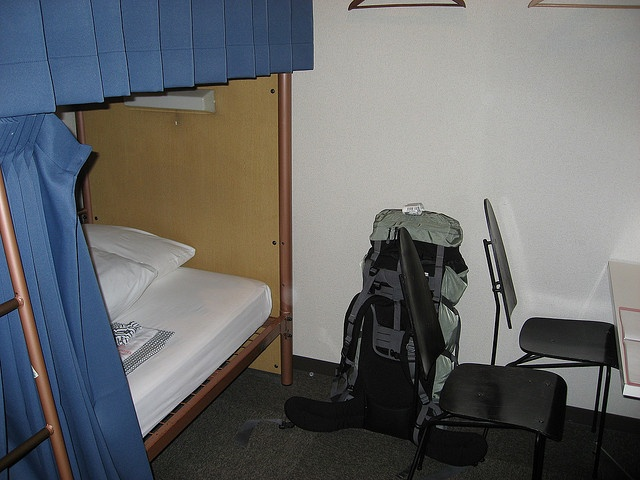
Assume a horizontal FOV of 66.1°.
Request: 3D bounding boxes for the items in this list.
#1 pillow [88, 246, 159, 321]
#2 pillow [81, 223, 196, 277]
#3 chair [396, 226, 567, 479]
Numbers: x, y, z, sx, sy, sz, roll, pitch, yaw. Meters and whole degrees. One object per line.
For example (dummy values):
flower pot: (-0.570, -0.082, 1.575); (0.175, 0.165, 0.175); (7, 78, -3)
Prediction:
pillow: (-1.016, 0.215, 2.549); (0.329, 0.091, 0.363); (25, 41, 13)
pillow: (-1.092, 0.026, 2.915); (0.508, 0.120, 0.336); (19, 23, 9)
chair: (0.813, 0.573, 2.490); (0.790, 1.367, 0.687); (4, 25, 22)
